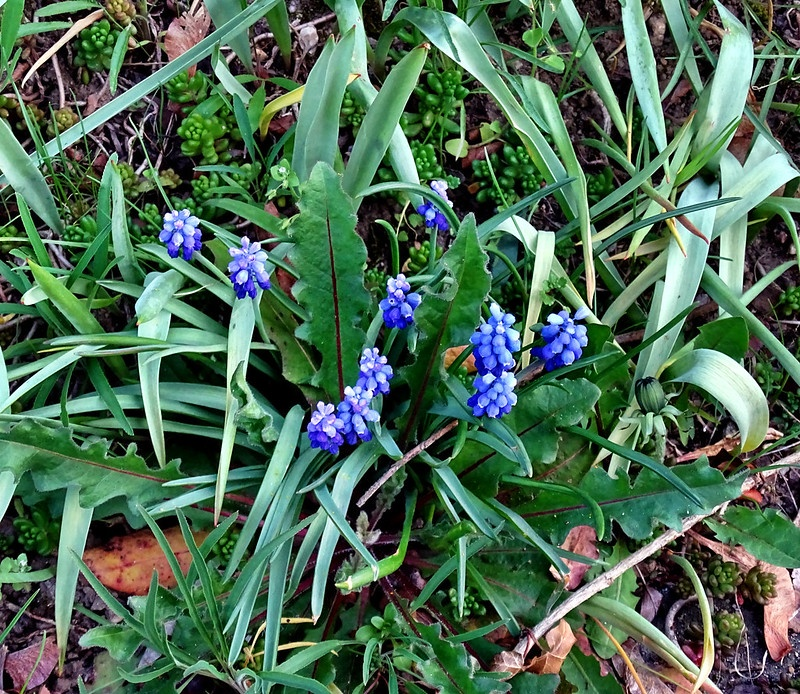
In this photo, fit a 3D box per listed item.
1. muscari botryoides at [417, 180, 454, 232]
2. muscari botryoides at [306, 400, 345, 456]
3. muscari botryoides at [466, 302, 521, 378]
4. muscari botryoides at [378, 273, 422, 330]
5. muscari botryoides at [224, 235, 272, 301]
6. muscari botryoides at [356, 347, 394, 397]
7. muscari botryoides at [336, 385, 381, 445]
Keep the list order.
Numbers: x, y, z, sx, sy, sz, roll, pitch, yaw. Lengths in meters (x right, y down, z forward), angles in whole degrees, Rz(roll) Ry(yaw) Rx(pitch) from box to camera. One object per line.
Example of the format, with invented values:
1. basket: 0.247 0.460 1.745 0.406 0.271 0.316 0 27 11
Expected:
1. muscari botryoides: 0.088 -0.343 1.853 0.052 0.148 0.074 -3 20 -39
2. muscari botryoides: -0.153 0.172 1.599 0.073 0.121 0.085 20 69 5
3. muscari botryoides: 0.202 0.018 1.552 0.087 0.090 0.183 19 71 -15
4. muscari botryoides: 0.009 -0.141 1.708 0.101 0.141 0.107 -14 58 -5
5. muscari botryoides: -0.361 -0.182 1.756 0.079 0.131 0.086 39 64 14
6. muscari botryoides: -0.047 0.068 1.645 0.082 0.139 0.105 4 56 2
7. muscari botryoides: -0.087 0.152 1.625 0.076 0.100 0.074 29 83 7
